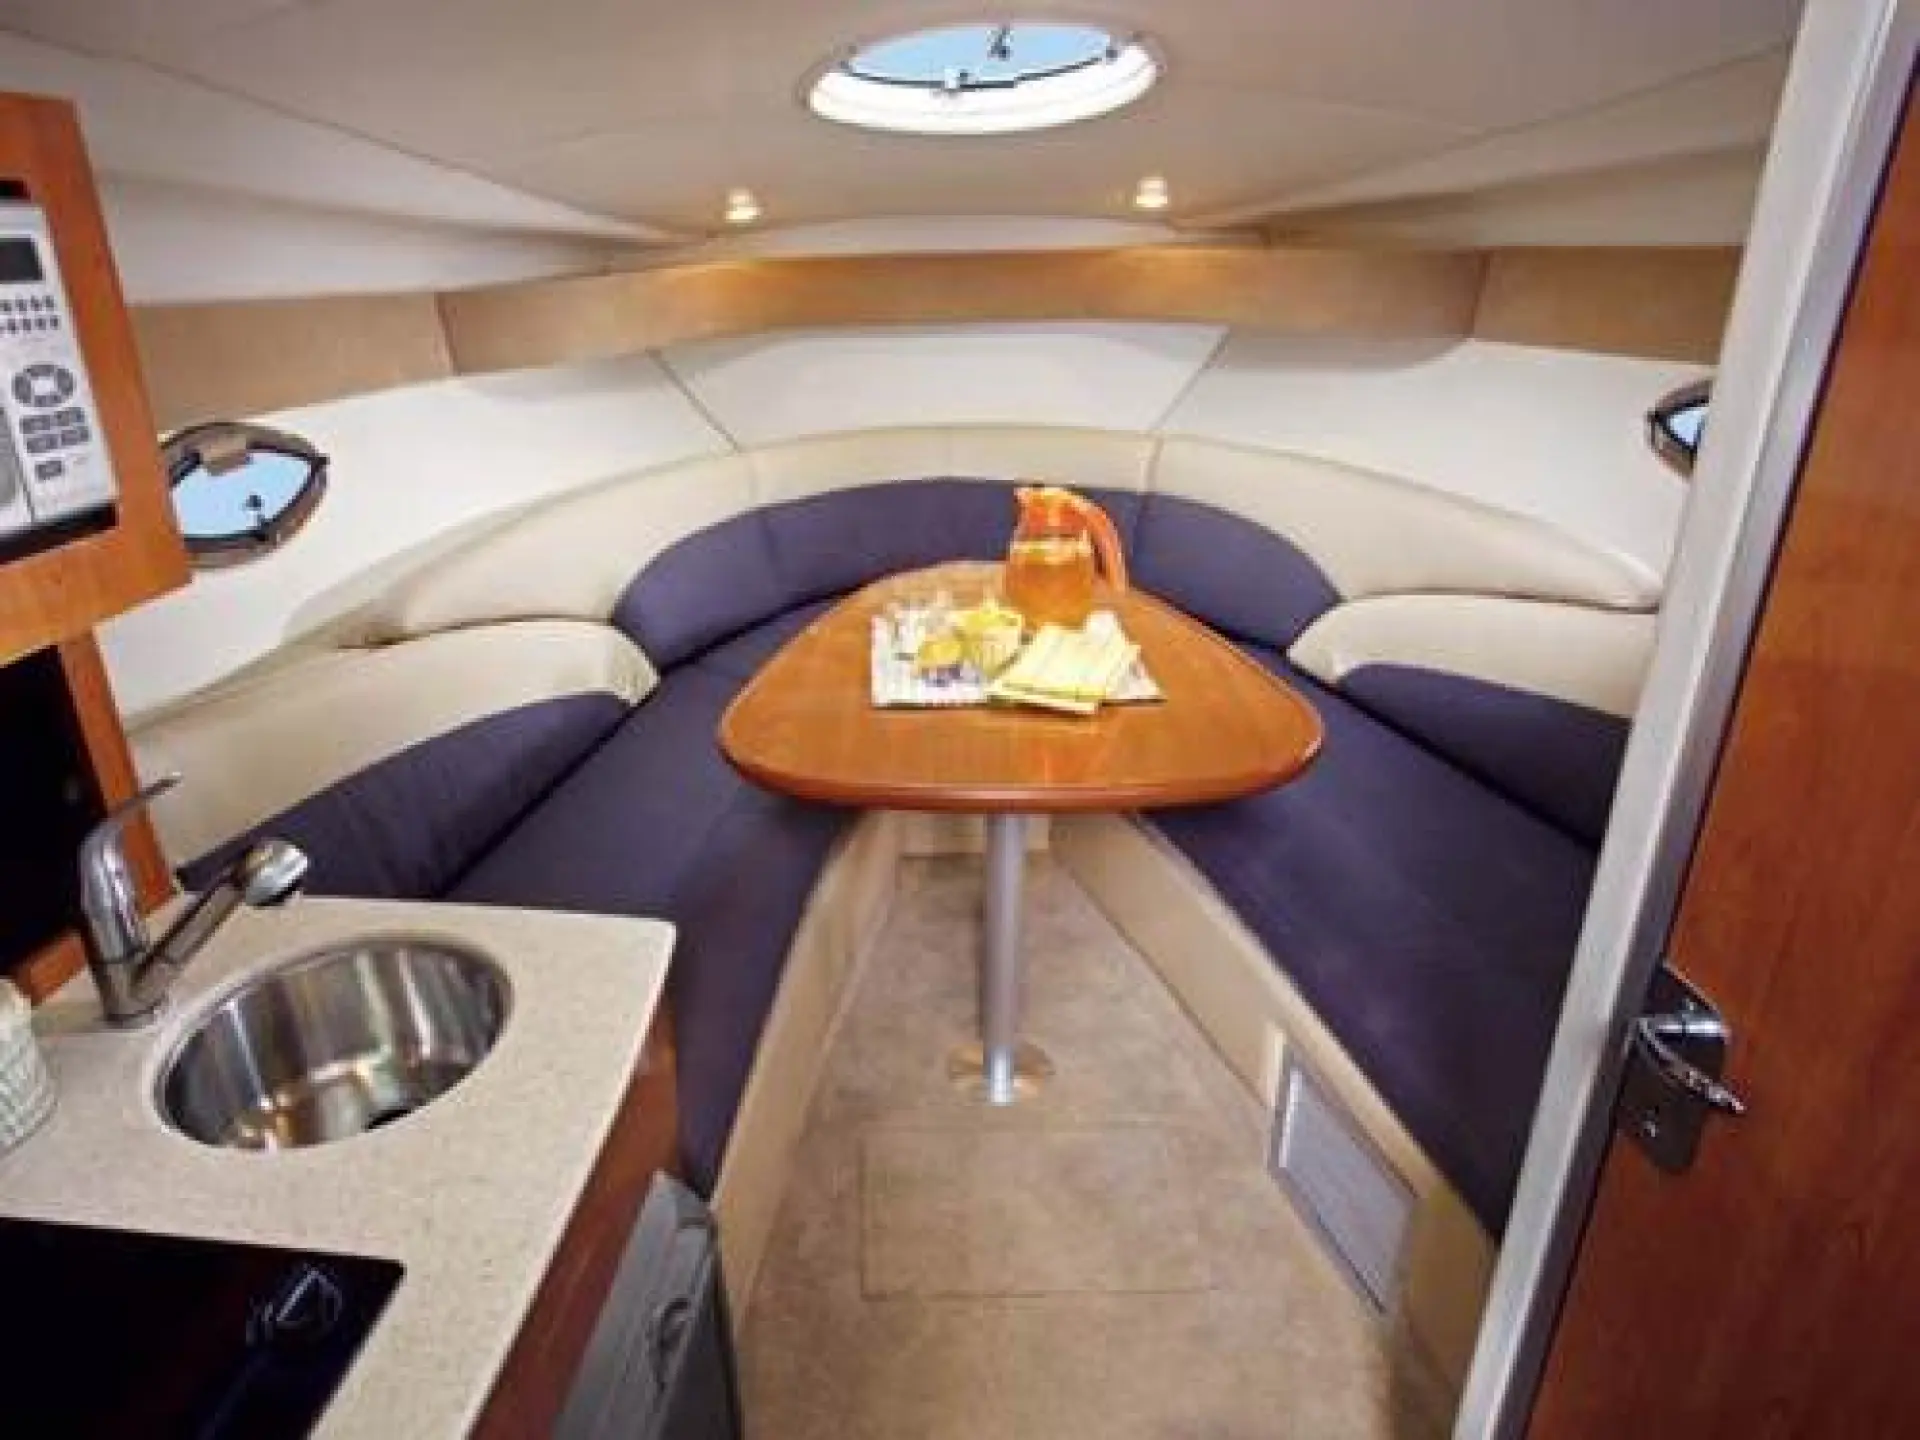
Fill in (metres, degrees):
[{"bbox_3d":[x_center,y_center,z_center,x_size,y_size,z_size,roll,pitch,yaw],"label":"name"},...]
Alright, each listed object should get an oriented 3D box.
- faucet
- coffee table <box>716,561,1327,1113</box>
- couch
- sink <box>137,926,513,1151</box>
[{"bbox_3d":[-0.875,0.210,1.401,0.258,0.281,0.076,-6,17,1],"label":"faucet"},{"bbox_3d":[0.118,0.432,2.668,1.345,0.974,0.860,2,36,3],"label":"coffee table"},{"bbox_3d":[0.246,0.795,3.261,2.272,0.853,1.930,1,38,4],"label":"couch"},{"bbox_3d":[-0.784,0.342,1.514,0.271,0.122,0.282,20,31,29],"label":"sink"}]
